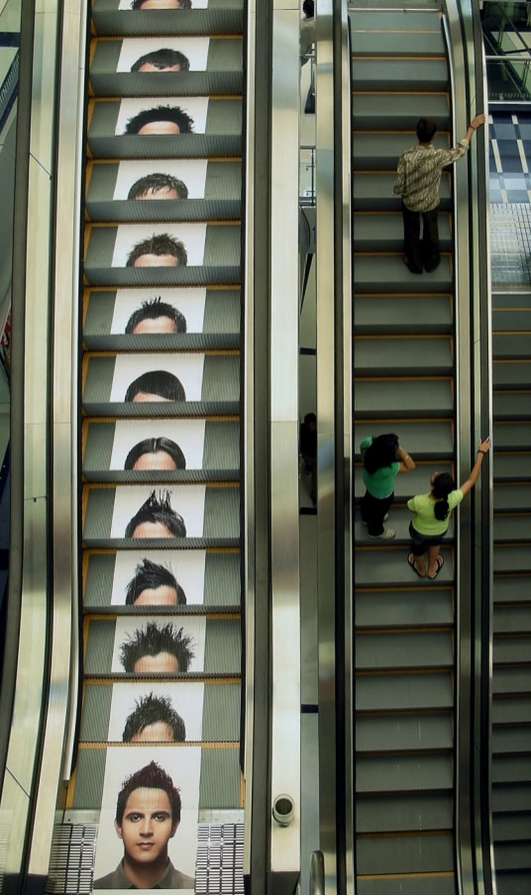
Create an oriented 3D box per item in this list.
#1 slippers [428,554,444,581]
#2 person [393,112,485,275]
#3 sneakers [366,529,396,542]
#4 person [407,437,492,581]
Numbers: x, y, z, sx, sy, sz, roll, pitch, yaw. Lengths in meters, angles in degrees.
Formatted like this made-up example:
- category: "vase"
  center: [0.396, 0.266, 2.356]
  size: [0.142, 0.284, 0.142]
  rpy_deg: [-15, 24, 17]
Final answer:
- category: "slippers"
  center: [1.200, 0.876, 6.460]
  size: [0.077, 0.216, 0.057]
  rpy_deg: [13, 1, 33]
- category: "person"
  center: [1.229, -1.823, 6.504]
  size: [0.547, 0.319, 1.182]
  rpy_deg: [1, -43, 10]
- category: "sneakers"
  center: [0.823, 0.647, 6.538]
  size: [0.209, 0.095, 0.102]
  rpy_deg: [-4, -1, 4]
- category: "person"
  center: [1.193, 0.436, 6.150]
  size: [0.541, 0.359, 1.147]
  rpy_deg: [-27, -34, -19]
